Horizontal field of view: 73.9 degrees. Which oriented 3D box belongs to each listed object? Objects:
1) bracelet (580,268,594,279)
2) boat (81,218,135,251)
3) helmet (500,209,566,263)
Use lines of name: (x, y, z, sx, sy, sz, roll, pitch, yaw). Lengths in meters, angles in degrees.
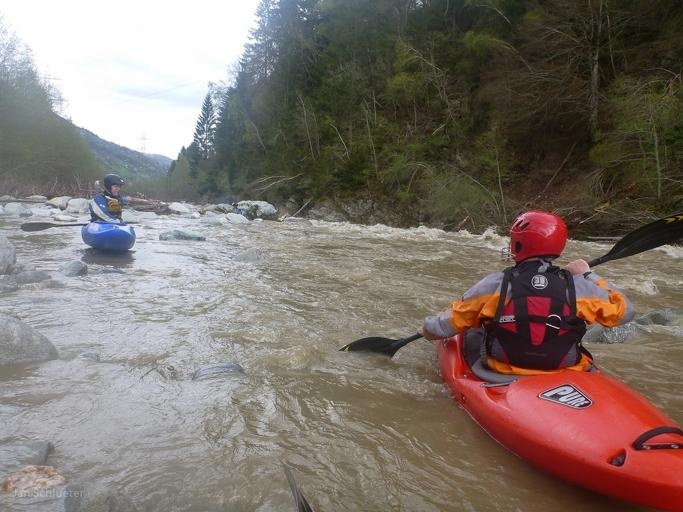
bracelet: (1.955, 0.137, 3.610, 0.062, 0.059, 0.075, -23, 10, -26)
boat: (-4.734, -0.433, 9.175, 0.861, 0.414, 1.643, 0, 3, -33)
helmet: (1.635, -0.141, 3.773, 0.482, 0.352, 0.370, 2, -6, 28)
